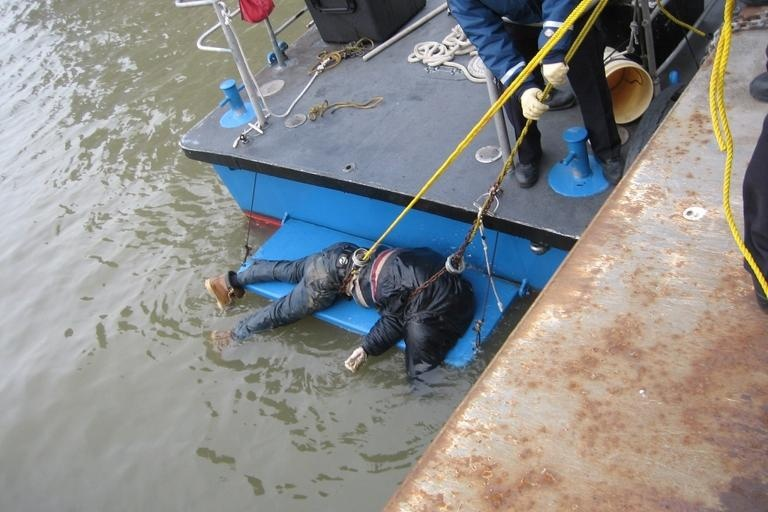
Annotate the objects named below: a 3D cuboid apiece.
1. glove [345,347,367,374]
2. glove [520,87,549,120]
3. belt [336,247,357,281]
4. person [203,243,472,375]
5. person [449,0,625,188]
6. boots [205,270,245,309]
[{"bbox_3d":[-0.216,0.831,5.401,0.144,0.082,0.225,41,64,13],"label":"glove"},{"bbox_3d":[0.966,-1.015,4.307,0.136,0.156,0.235,-11,51,10],"label":"glove"},{"bbox_3d":[-0.316,0.064,5.568,0.193,0.099,0.250,6,81,21],"label":"belt"},{"bbox_3d":[-0.238,0.309,5.559,1.624,0.619,1.184,5,12,15],"label":"person"},{"bbox_3d":[1.147,-1.213,4.748,0.896,1.390,1.112,-22,50,1],"label":"person"},{"bbox_3d":[-1.501,0.279,6.246,0.436,0.204,0.283,10,34,29],"label":"boots"}]
